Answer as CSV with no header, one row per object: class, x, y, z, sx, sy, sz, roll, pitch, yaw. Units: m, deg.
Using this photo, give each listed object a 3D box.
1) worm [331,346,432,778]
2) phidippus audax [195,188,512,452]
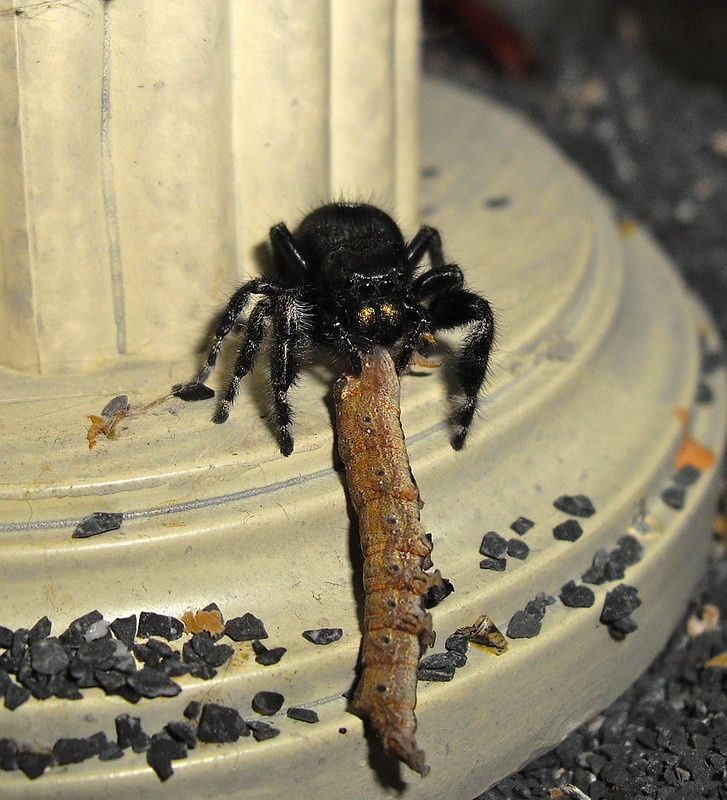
worm,0.084,0.350,2.439,0.303,1.068,0.217,-5,-5,29
phidippus audax,-0.076,-0.312,3.118,0.930,0.801,1.076,-6,13,-6
